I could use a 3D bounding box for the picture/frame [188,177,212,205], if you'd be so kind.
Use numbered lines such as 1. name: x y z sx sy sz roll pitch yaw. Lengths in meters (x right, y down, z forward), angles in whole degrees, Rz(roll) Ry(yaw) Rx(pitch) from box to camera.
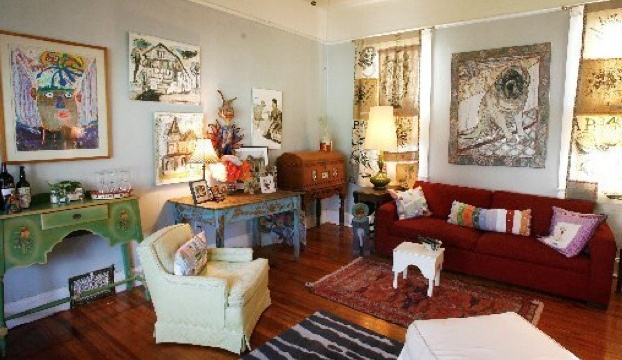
1. picture/frame: -1.511 0.169 5.784 0.328 0.298 0.056 -12 1 28

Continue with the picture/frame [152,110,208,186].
1. picture/frame: -1.902 -0.464 5.992 0.784 1.034 0.087 -11 14 -38

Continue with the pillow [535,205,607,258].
1. pillow: 3.506 0.712 5.630 0.562 0.541 0.646 -10 13 -35

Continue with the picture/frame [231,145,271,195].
1. picture/frame: -0.960 -0.133 6.474 0.039 0.914 0.850 -2 -1 36

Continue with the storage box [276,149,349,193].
1. storage box: 0.023 -0.191 7.371 0.684 0.589 1.161 5 9 40

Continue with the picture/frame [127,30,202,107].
1. picture/frame: -2.020 -1.554 5.870 0.028 0.891 1.152 13 15 35

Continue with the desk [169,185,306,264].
1. desk: -0.987 0.697 6.308 0.925 0.867 1.599 5 9 44

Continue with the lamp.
1. lamp: 1.240 -0.556 7.081 0.566 1.389 0.424 -12 15 -41

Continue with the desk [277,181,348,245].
1. desk: 0.210 0.410 7.541 0.932 0.604 0.531 8 -8 8

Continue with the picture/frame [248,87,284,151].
1. picture/frame: -0.740 -1.026 7.016 0.126 1.040 0.686 6 14 38

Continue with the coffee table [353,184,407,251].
1. coffee table: 1.046 0.494 6.867 0.701 1.134 0.933 2 2 41
